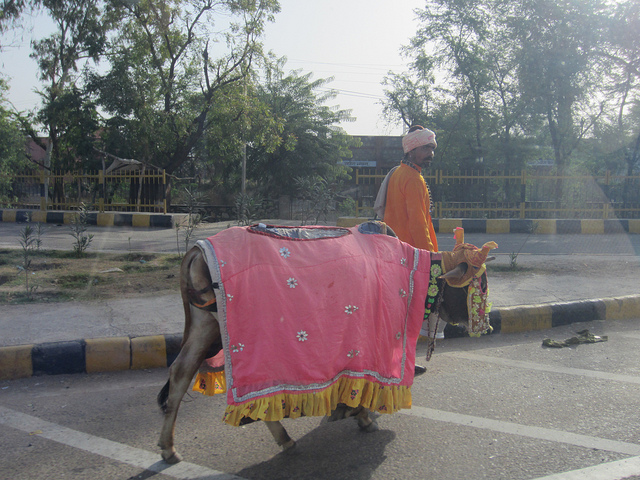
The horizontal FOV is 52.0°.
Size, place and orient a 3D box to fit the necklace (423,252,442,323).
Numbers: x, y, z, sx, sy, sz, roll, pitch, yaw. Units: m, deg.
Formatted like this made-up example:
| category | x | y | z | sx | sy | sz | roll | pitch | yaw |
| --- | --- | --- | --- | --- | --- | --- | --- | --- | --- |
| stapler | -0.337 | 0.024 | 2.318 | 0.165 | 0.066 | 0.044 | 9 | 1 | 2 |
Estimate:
| category | x | y | z | sx | sy | sz | roll | pitch | yaw |
| --- | --- | --- | --- | --- | --- | --- | --- | --- | --- |
| necklace | 0.932 | 0.414 | 5.603 | 0.156 | 0.701 | 0.024 | 4 | -31 | 21 |

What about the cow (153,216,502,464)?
| category | x | y | z | sx | sy | sz | roll | pitch | yaw |
| --- | --- | --- | --- | --- | --- | --- | --- | --- | --- |
| cow | -0.098 | 0.544 | 6.070 | 3.448 | 2.239 | 1.386 | -4 | 15 | -21 |
